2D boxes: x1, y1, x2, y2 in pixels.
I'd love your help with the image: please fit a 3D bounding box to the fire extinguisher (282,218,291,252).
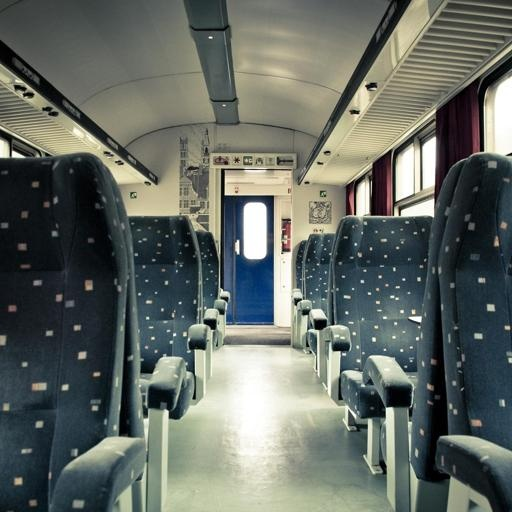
[{"bbox_3d":[0.623,-0.433,8.882,0.202,0.709,0.128,0,-1,-6],"label":"fire extinguisher"}]
